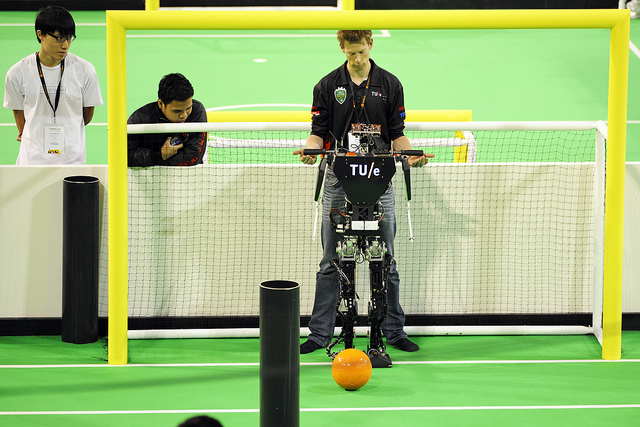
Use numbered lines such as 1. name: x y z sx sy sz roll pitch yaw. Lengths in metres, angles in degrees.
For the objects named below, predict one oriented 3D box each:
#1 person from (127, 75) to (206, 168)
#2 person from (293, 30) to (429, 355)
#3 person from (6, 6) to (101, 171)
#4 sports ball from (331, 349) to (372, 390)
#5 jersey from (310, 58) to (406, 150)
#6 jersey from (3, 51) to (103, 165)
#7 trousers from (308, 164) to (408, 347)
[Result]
1. person: -1.707 -1.014 7.821 0.858 1.014 0.686 -1 3 -10
2. person: 0.401 -0.169 7.297 1.207 3.405 1.124 -2 4 -30
3. person: -3.290 -1.515 8.621 1.103 1.865 1.136 -2 3 -17
4. sports ball: 0.330 1.532 7.060 0.401 0.407 0.398 -6 16 2
5. jersey: 0.386 -1.118 7.553 1.077 0.882 0.527 -2 15 3
6. jersey: -3.323 -1.236 8.994 1.076 1.521 1.133 4 -22 -7
7. trousers: 0.372 0.479 7.573 1.035 1.963 0.401 0 3 1
